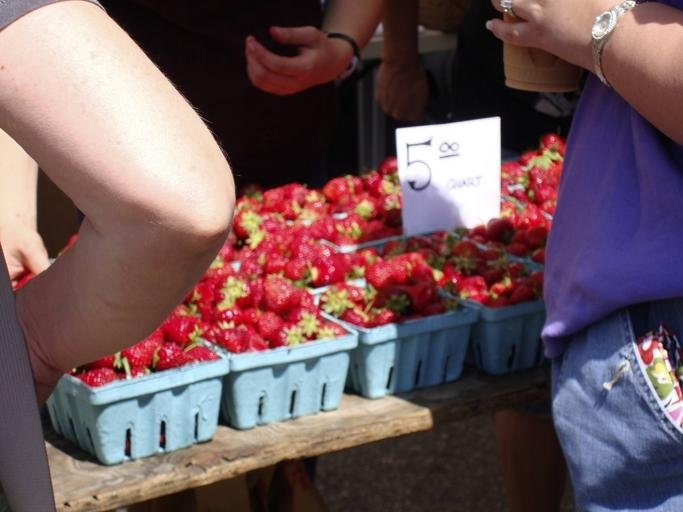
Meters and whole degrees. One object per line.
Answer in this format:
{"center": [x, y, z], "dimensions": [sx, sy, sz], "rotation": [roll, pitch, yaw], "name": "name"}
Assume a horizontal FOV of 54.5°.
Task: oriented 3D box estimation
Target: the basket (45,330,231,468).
{"center": [-0.418, 0.247, 1.309], "dimensions": [0.262, 0.149, 0.207], "rotation": [-8, 16, -32], "name": "basket"}

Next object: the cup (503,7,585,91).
{"center": [0.414, -0.414, 1.420], "dimensions": [0.130, 0.175, 0.171], "rotation": [-15, 41, -24], "name": "cup"}
